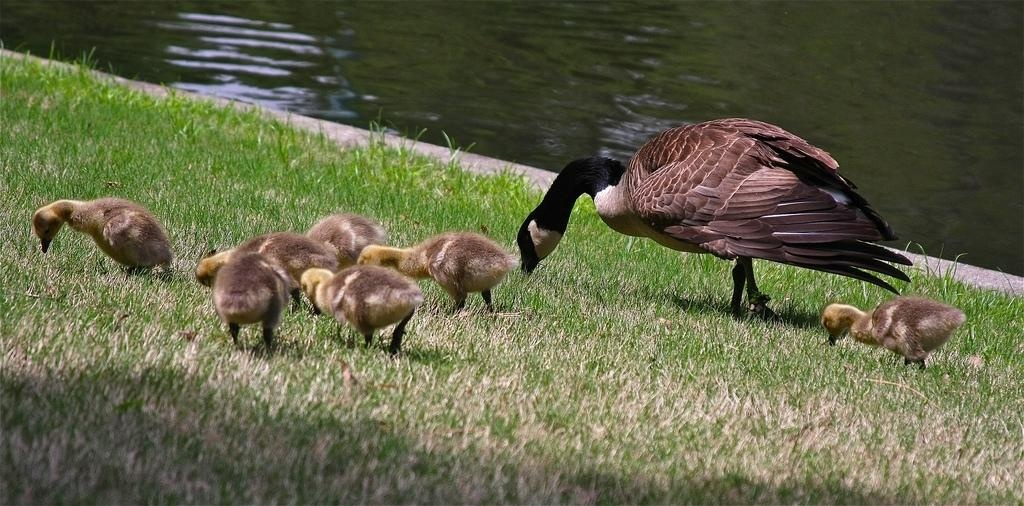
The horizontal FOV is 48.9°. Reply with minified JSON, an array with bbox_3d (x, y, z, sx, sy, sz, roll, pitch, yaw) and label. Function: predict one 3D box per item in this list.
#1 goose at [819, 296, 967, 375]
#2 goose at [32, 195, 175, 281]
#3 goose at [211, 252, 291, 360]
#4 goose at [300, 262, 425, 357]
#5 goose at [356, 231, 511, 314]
[{"bbox_3d":[4.653,0.873,13.642,1.907,0.743,0.758,0,5,32],"label":"goose"},{"bbox_3d":[-4.889,-0.258,13.767,1.642,0.805,0.438,14,25,3],"label":"goose"},{"bbox_3d":[-3.017,0.490,13.287,0.997,0.956,1.668,-1,8,-3],"label":"goose"},{"bbox_3d":[-1.737,0.569,13.017,1.325,0.905,0.523,27,26,31],"label":"goose"},{"bbox_3d":[-0.754,0.207,13.996,2.177,0.858,0.802,-3,13,28],"label":"goose"}]
